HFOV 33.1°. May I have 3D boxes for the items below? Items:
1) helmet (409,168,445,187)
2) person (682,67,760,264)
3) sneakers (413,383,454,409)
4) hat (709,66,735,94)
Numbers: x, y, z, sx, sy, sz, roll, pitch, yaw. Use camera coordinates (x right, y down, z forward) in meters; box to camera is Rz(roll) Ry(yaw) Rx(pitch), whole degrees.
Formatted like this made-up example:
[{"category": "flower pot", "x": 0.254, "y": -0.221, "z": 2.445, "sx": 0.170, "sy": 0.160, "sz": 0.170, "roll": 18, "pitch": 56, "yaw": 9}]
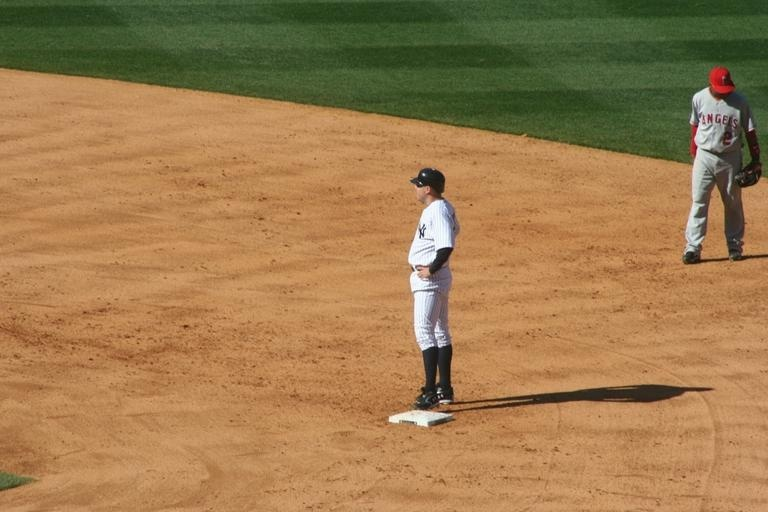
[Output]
[{"category": "helmet", "x": 0.529, "y": -0.975, "z": 16.171, "sx": 0.404, "sy": 0.168, "sz": 0.266, "roll": 11, "pitch": 19, "yaw": 17}, {"category": "person", "x": 4.844, "y": -1.270, "z": 18.456, "sx": 1.005, "sy": 2.870, "sz": 0.462, "roll": 4, "pitch": 19, "yaw": 8}, {"category": "sneakers", "x": 0.664, "y": 1.794, "z": 16.398, "sx": 0.678, "sy": 0.255, "sz": 0.208, "roll": -6, "pitch": 20, "yaw": -12}, {"category": "hat", "x": 4.764, "y": -2.473, "z": 18.133, "sx": 0.347, "sy": 0.370, "sz": 0.241, "roll": 5, "pitch": 18, "yaw": 11}]
